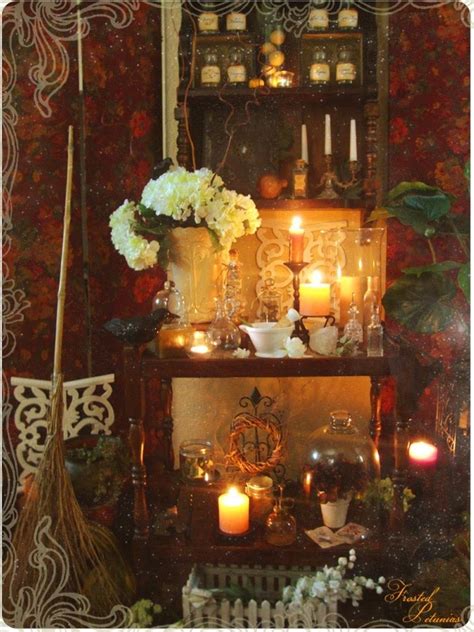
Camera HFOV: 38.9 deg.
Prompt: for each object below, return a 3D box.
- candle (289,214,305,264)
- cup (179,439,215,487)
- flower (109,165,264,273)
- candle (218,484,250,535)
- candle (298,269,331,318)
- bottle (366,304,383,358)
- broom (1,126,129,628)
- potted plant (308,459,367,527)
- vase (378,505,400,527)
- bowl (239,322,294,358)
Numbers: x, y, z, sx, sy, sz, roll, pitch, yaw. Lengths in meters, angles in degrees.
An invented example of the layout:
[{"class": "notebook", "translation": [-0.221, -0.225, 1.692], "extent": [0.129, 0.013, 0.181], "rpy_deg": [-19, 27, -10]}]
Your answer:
[{"class": "candle", "translation": [0.143, -0.181, 1.615], "extent": [0.030, 0.110, 0.054], "rpy_deg": [-1, 6, 1]}, {"class": "cup", "translation": [-0.101, 0.369, 1.707], "extent": [0.101, 0.095, 0.096], "rpy_deg": [1, 2, 0]}, {"class": "flower", "translation": [-0.130, -0.256, 1.656], "extent": [0.328, 0.204, 0.257], "rpy_deg": [-6, 17, -18]}, {"class": "candle", "translation": [-0.008, 0.466, 1.631], "extent": [0.105, 0.101, 0.097], "rpy_deg": [0, 3, 0]}, {"class": "candle", "translation": [0.190, -0.056, 1.619], "extent": [0.077, 0.107, 0.106], "rpy_deg": [0, 5, 7]}, {"class": "bottle", "translation": [0.323, 0.033, 1.567], "extent": [0.037, 0.117, 0.077], "rpy_deg": [0, 5, 11]}, {"class": "broom", "translation": [-0.431, 0.156, 1.601], "extent": [0.297, 1.225, 0.128], "rpy_deg": [-3, 6, -19]}, {"class": "potted plant", "translation": [0.251, 0.422, 1.731], "extent": [0.175, 0.230, 0.165], "rpy_deg": [0, 3, 9]}, {"class": "vase", "translation": [0.366, 0.476, 1.596], "extent": [0.028, 0.065, 0.055], "rpy_deg": [-4, 6, -27]}, {"class": "bowl", "translation": [0.073, 0.041, 1.570], "extent": [0.115, 0.055, 0.086], "rpy_deg": [0, 5, 6]}]
